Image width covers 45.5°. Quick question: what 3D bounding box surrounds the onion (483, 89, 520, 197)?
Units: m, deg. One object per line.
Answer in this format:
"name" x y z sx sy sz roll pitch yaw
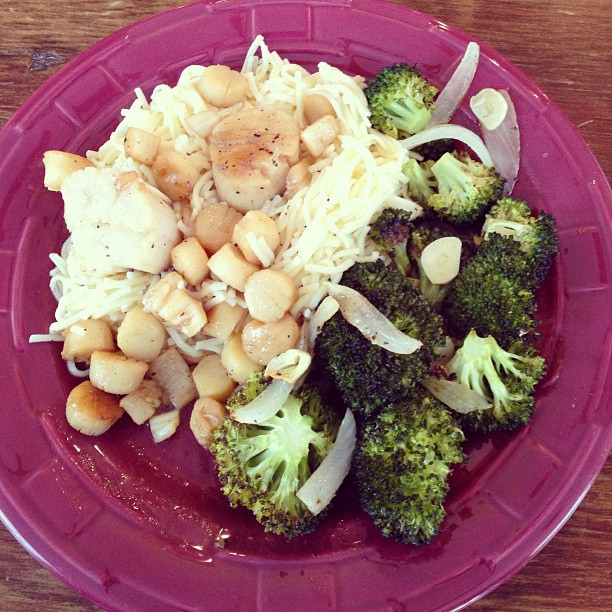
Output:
"onion" 0.839 -0.665 3.105 0.175 0.052 0.403 -6 98 29

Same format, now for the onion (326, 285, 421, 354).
"onion" 0.256 0.063 2.860 0.440 0.075 0.143 37 81 10

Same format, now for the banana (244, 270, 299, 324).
"banana" -0.142 -0.041 2.976 0.267 0.149 0.183 1 85 1

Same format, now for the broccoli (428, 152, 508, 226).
"broccoli" 0.716 -0.534 3.158 0.310 0.107 0.269 -17 49 -13

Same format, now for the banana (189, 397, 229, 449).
"banana" -0.406 0.493 3.029 0.205 0.127 0.180 -6 82 35
